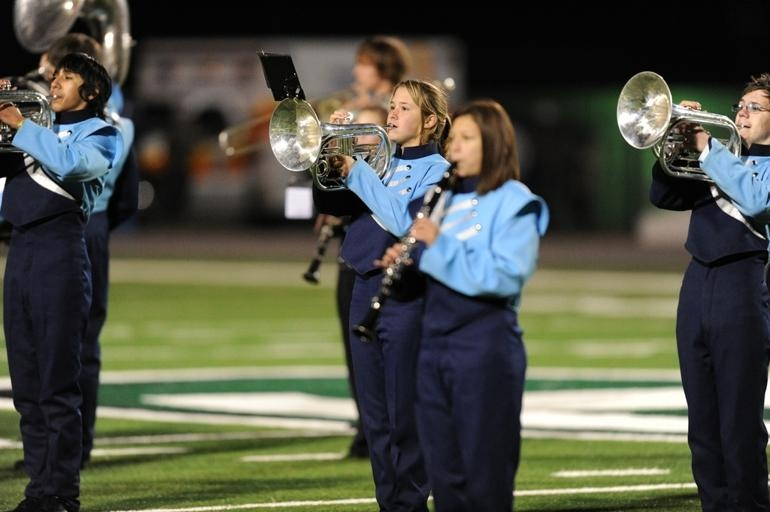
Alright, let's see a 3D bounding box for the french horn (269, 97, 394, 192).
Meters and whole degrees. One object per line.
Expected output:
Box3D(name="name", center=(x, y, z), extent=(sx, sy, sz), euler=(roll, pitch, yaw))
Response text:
Box3D(name="french horn", center=(-0.308, -0.693, 7.565), extent=(0.928, 0.474, 0.455), euler=(2, 6, -31))
